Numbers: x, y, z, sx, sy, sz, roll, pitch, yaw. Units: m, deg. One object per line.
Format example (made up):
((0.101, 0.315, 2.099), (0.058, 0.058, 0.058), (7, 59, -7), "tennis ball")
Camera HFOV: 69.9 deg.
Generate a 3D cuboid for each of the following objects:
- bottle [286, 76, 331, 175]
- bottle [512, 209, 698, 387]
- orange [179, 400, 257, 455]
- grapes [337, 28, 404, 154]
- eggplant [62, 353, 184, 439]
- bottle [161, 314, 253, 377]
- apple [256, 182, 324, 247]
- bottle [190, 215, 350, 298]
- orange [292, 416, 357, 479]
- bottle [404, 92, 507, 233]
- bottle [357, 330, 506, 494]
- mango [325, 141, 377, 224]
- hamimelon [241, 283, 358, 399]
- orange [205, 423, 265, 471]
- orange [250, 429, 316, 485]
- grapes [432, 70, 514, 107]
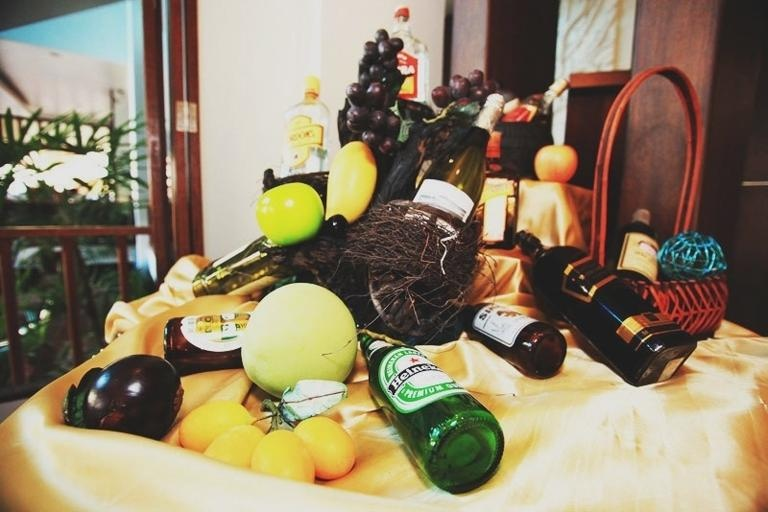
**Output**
((-0.215, -0.360, 1.581), (0.101, 0.282, 0.082), (5, 2, 33), "bottle")
((0.474, 0.092, 1.343), (0.138, 0.169, 0.500), (-5, 29, -25), "bottle")
((-0.358, 0.361, 1.188), (0.104, 0.103, 0.127), (-1, 2, -5), "orange")
((-0.021, -0.401, 1.391), (0.142, 0.283, 0.092), (0, 16, 2), "grapes")
((-0.548, 0.259, 1.177), (0.185, 0.185, 0.195), (4, -1, -44), "eggplant")
((-0.412, 0.185, 1.298), (0.139, 0.161, 0.198), (1, -2, -37), "bottle")
((-0.235, -0.105, 1.392), (0.165, 0.139, 0.164), (-12, 14, -6), "apple")
((-0.302, 0.006, 1.454), (0.316, 0.077, 0.071), (-25, 32, 21), "bottle")
((-0.114, 0.397, 1.146), (0.099, 0.095, 0.123), (-11, 25, -27), "orange")
((0.174, -0.230, 1.383), (0.153, 0.456, 0.152), (23, -25, 11), "bottle")
((0.097, 0.337, 1.148), (0.160, 0.159, 0.525), (-12, 24, -24), "bottle")
((-0.085, -0.184, 1.406), (0.102, 0.213, 0.101), (37, -28, -32), "mango")
((-0.202, 0.157, 1.261), (0.236, 0.262, 0.206), (1, 1, -28), "hamimelon")
((-0.296, 0.377, 1.119), (0.111, 0.065, 0.066), (-11, -30, -31), "orange")
((-0.215, 0.417, 1.131), (0.119, 0.118, 0.149), (-9, -7, -10), "orange")
((0.232, -0.456, 1.493), (0.188, 0.084, 0.123), (-5, -7, -3), "grapes")
